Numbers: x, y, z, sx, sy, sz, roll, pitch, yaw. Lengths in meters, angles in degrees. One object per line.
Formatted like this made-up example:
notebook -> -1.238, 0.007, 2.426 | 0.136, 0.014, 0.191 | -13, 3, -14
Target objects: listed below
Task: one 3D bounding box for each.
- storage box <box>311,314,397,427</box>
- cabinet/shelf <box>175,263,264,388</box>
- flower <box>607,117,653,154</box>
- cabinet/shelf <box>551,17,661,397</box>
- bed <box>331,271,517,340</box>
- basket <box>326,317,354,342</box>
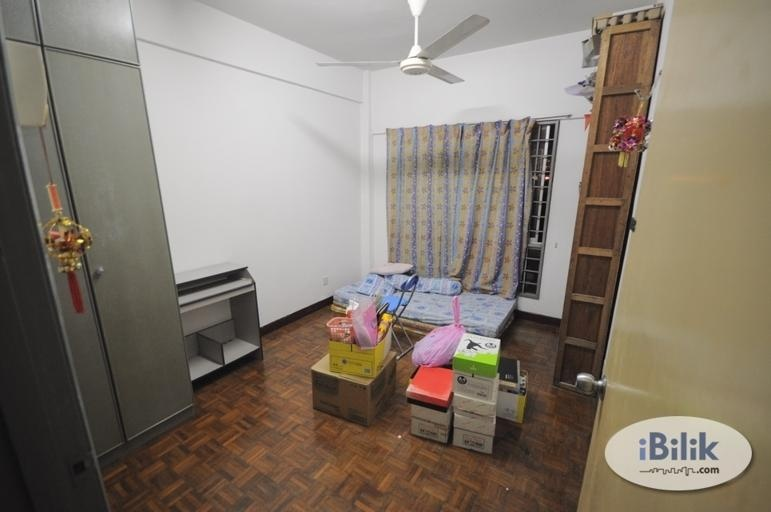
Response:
storage box -> -0.182, 0.768, 3.621 | 0.600, 0.409, 0.630 | 7, 20, 24
cabinet/shelf -> -1.380, 0.578, 4.017 | 0.412, 0.795, 0.803 | 5, 13, 28
flower -> 1.402, -0.690, 2.805 | 0.187, 0.204, 0.233 | 6, 13, 26
cabinet/shelf -> 1.561, -0.263, 3.506 | 0.481, 2.619, 0.192 | 7, 15, 28
bed -> 0.448, 0.474, 4.995 | 1.403, 0.346, 0.847 | 4, 11, 28
basket -> -0.298, 0.504, 3.391 | 0.196, 0.135, 0.162 | 1, 12, 7
